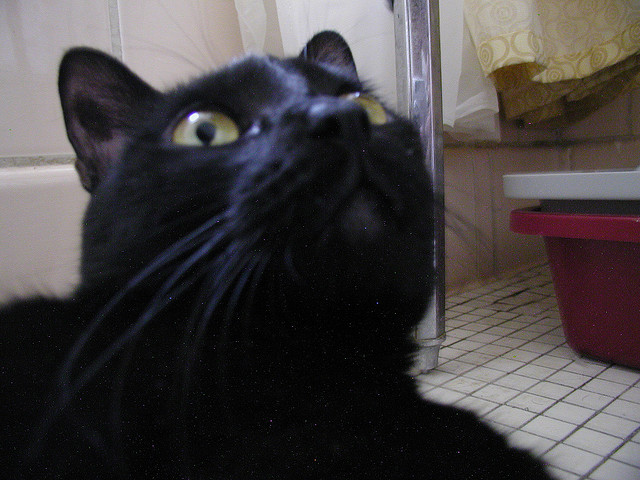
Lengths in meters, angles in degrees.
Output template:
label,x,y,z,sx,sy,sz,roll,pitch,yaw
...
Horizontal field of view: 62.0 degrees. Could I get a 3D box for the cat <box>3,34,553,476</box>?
label,x,y,z,sx,sy,sz,roll,pitch,yaw
cat,-0.177,-0.013,1.365,1.186,0.979,0.584,-2,13,-2
